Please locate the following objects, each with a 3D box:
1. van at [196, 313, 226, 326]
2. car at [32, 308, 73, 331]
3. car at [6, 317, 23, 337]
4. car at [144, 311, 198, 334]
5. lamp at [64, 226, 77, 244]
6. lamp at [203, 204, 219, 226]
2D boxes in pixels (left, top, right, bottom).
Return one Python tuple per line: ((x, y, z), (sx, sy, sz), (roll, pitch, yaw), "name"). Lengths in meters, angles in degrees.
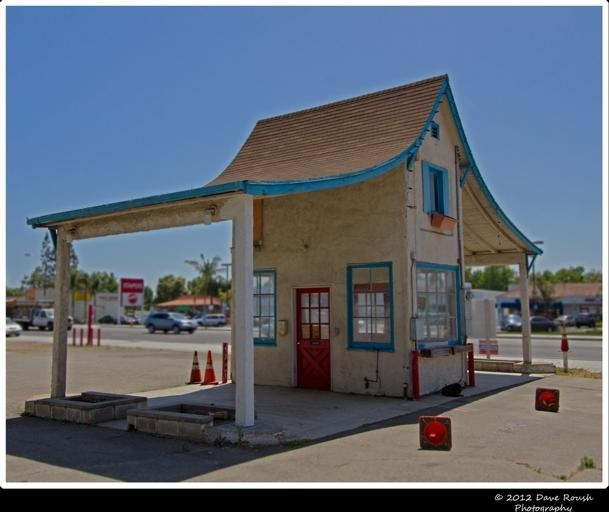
((-8.426, 6.131, 60.556), (2.495, 1.164, 3.991), (0, -6, -8), "van")
((-19.532, 4.823, 48.702), (0.896, 1.686, 2.232), (5, -8, -44), "car")
((-18.641, 4.667, 41.266), (0.855, 0.761, 1.904), (1, -6, -36), "car")
((-9.844, 4.954, 47.666), (3.699, 1.628, 1.873), (-2, -6, 18), "car")
((-5.138, -0.451, 14.271), (0.376, 0.345, 0.182), (-2, -6, 18), "lamp")
((-1.718, -0.762, 11.778), (0.317, 0.383, 0.116), (-5, -7, 37), "lamp")
